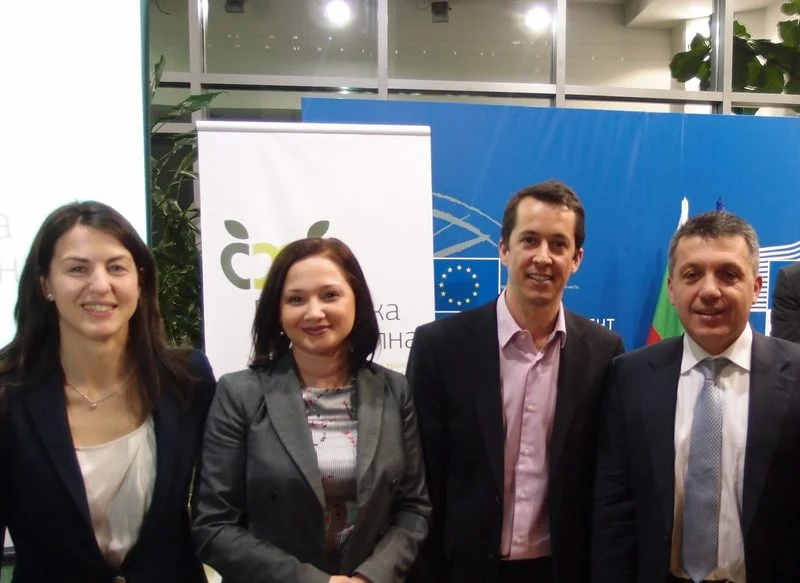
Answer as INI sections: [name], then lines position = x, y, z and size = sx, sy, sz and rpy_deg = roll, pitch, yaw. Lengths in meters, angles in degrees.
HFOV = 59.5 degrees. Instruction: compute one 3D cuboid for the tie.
[tie]
position = 1.333, 0.770, 3.081
size = 0.147, 0.932, 0.282
rpy_deg = 2, 8, 25
